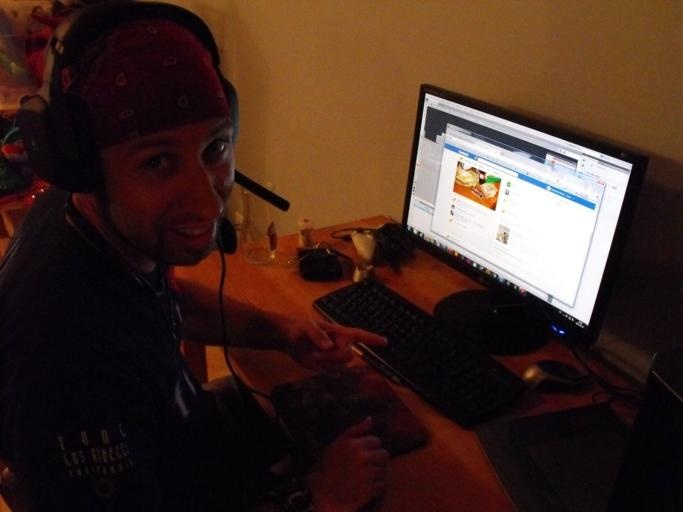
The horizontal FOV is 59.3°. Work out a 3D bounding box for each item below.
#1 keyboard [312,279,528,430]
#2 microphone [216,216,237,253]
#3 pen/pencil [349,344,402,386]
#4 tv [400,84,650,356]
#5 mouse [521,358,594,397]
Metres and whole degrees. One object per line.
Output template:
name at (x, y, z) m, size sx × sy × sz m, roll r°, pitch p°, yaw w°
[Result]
keyboard at (0.155, 0.201, 1.436) m, size 0.221 × 0.073 × 0.563 m, roll -24°, pitch 37°, yaw -34°
microphone at (-0.270, -0.047, 1.408) m, size 0.046 × 0.091 × 0.022 m, roll -14°, pitch 14°, yaw -32°
pen/pencil at (0.081, 0.247, 1.345) m, size 0.015 × 0.017 × 0.132 m, roll -41°, pitch 49°, yaw -6°
tv at (0.438, -0.080, 1.373) m, size 0.087 × 0.390 × 0.526 m, roll -18°, pitch 43°, yaw -29°
mouse at (0.482, 0.262, 1.333) m, size 0.115 × 0.040 × 0.076 m, roll -5°, pitch 32°, yaw -7°
